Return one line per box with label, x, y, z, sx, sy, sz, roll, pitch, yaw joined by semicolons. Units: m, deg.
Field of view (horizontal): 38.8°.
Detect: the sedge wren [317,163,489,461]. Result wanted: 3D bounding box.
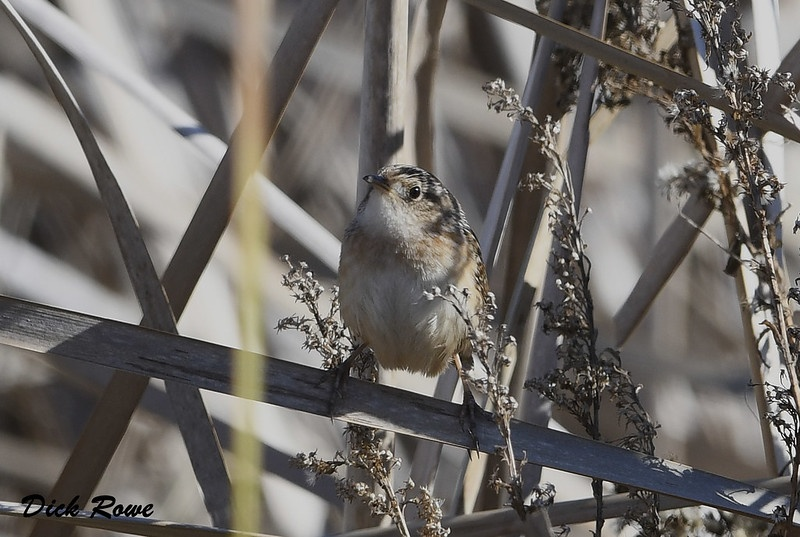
sedge wren;0.063;0.174;5.567;0.746;1.366;0.521;5;-33;-4
